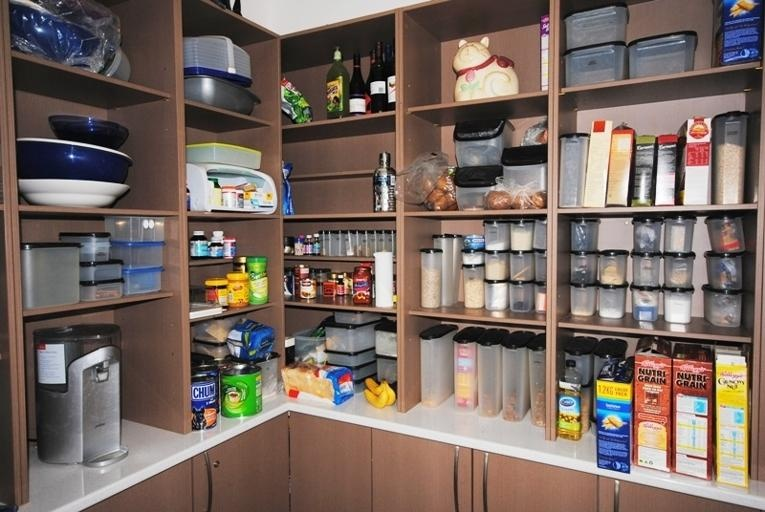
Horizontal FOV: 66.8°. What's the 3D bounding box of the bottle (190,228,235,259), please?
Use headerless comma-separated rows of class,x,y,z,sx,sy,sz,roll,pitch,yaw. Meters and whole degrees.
bottle,-0.918,-0.068,3.172,0.122,0.147,0.243,-2,-3,41

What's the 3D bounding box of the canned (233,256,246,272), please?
canned,-0.788,0.046,3.212,0.077,0.077,0.075,1,-1,-5

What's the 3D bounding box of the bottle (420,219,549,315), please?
bottle,0.538,0.044,3.011,0.464,0.427,0.466,1,1,44

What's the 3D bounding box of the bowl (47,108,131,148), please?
bowl,-1.355,-0.552,2.680,0.223,0.075,0.215,3,1,0

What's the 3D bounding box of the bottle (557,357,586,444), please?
bottle,0.921,0.696,2.862,0.109,0.390,0.149,-1,3,25

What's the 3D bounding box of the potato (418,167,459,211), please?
potato,0.322,-0.350,3.117,0.226,0.206,0.167,2,0,-31

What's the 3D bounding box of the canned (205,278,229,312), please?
canned,-0.880,0.215,3.171,0.147,0.150,0.149,1,2,35
